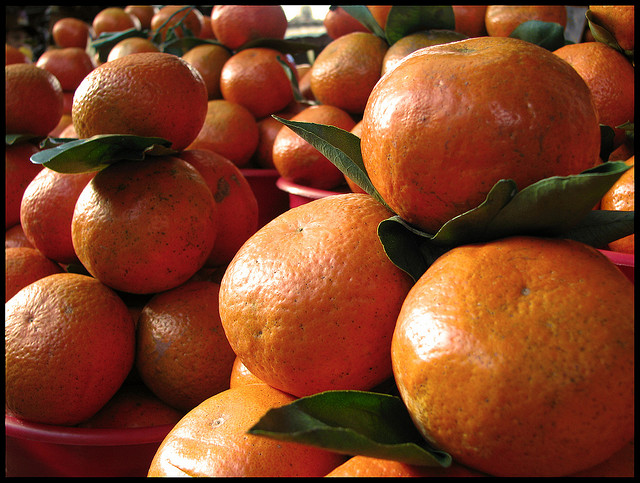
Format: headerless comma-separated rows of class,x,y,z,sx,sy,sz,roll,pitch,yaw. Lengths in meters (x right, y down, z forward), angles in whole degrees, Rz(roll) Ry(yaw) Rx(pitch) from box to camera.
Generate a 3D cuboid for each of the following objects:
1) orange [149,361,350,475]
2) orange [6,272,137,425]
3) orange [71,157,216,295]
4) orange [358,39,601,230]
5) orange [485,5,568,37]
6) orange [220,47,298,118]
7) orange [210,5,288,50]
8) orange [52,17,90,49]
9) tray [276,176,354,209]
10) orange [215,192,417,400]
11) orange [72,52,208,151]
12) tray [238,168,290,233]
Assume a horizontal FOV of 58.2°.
orange,-0.116,0.261,0.763,0.164,0.097,0.182,1,27,4
orange,-0.408,0.192,1.033,0.215,0.174,0.239,-29,68,17
orange,-0.295,-0.029,1.058,0.202,0.228,0.222,-9,36,-18
orange,0.192,-0.146,0.698,0.244,0.196,0.242,-12,26,2
orange,0.509,-0.558,1.415,0.129,0.071,0.137,4,30,13
orange,-0.185,-0.457,1.733,0.183,0.160,0.207,10,40,7
orange,-0.224,-0.668,1.759,0.216,0.150,0.117,-3,49,15
orange,-1.132,-0.919,2.595,0.174,0.115,0.142,0,10,-14
tray,-0.021,-0.140,1.446,0.159,0.063,0.160,-22,20,-25
orange,-0.012,0.081,0.870,0.262,0.236,0.293,10,32,36
orange,-0.311,-0.239,1.040,0.224,0.192,0.184,-9,12,-17
tray,-0.154,-0.139,1.579,0.161,0.133,0.171,-1,23,-3
